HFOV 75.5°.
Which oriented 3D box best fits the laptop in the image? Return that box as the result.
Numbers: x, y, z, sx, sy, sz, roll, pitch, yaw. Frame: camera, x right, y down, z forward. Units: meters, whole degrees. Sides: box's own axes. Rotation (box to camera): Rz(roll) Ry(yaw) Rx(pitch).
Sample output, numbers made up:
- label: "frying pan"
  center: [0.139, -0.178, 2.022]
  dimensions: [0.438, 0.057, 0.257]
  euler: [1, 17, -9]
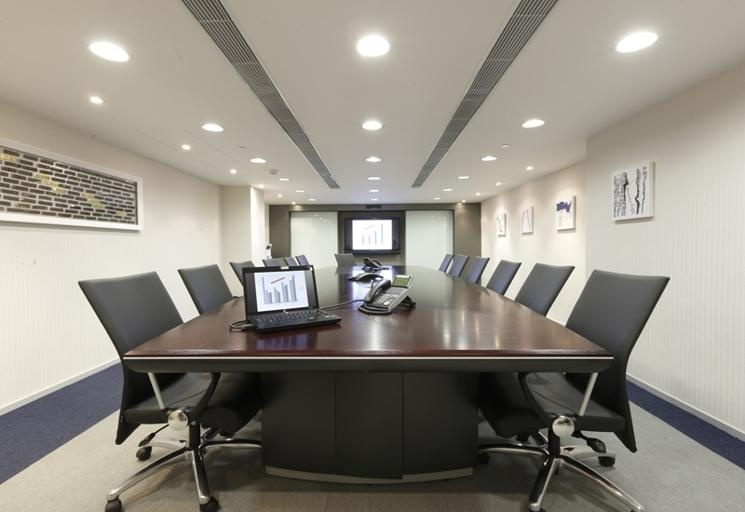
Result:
- label: "laptop"
  center: [-0.529, 0.255, 3.081]
  dimensions: [0.520, 0.341, 0.403]
  euler: [-2, 8, -27]

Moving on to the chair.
- label: "chair"
  center: [0.250, 0.896, 3.097]
  dimensions: [3.081, 1.488, 0.813]
  euler: [-2, 5, -1]

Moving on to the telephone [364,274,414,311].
- label: "telephone"
  center: [0.119, 0.257, 3.426]
  dimensions: [0.201, 0.158, 0.336]
  euler: [-2, 7, 38]

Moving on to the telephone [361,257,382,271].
- label: "telephone"
  center: [0.008, 0.112, 6.369]
  dimensions: [0.185, 0.087, 0.254]
  euler: [-7, -8, 39]
